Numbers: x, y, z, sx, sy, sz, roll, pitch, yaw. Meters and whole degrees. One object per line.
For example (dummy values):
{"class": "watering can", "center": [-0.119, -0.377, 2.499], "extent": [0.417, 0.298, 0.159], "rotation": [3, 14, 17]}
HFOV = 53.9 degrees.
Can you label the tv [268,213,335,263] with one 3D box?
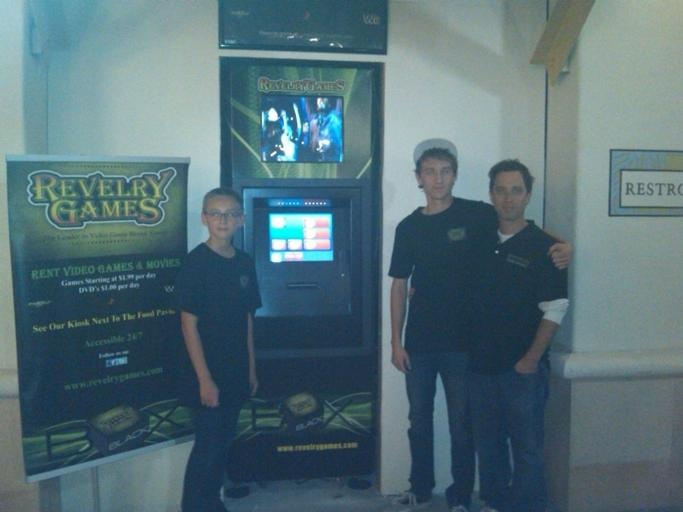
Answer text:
{"class": "tv", "center": [-0.268, -0.124, 4.349], "extent": [0.541, 0.374, 0.280], "rotation": [-1, 3, -1]}
